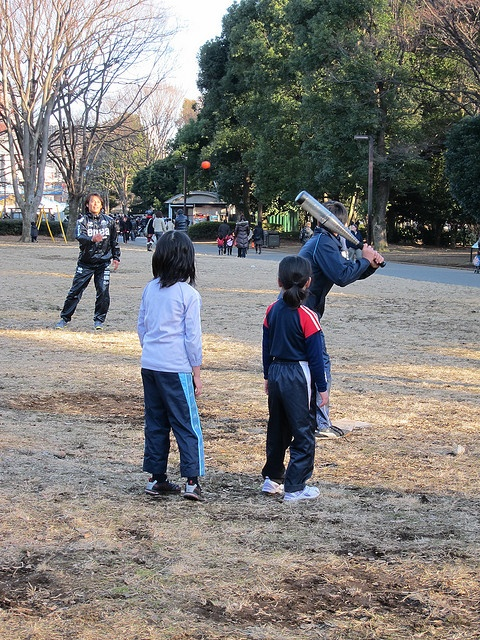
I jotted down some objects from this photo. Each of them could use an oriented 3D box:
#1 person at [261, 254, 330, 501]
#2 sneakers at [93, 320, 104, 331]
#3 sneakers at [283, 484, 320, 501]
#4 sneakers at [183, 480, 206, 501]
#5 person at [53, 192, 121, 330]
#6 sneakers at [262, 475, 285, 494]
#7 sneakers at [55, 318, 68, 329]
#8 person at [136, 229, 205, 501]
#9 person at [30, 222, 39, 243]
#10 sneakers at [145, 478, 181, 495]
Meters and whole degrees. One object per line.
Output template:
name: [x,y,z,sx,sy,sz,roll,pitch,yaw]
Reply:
person: [0.297,0.307,4.861,0.350,1.307,0.286,1,4,2]
sneakers: [-1.774,0.076,11.300,0.074,0.083,0.198,-1,-7,-14]
sneakers: [0.335,0.928,4.852,0.195,0.088,0.072,-7,-5,-5]
sneakers: [-0.248,0.897,4.750,0.059,0.070,0.156,2,-6,10]
person: [-1.827,-0.688,10.888,0.721,1.643,1.227,0,4,-9]
sneakers: [0.184,0.925,4.950,0.057,0.060,0.144,0,-4,29]
sneakers: [-2.210,0.053,11.091,0.078,0.096,0.211,13,-7,3]
person: [-0.367,0.234,4.783,0.401,1.414,0.271,2,4,7]
person: [-9.599,-4.103,41.807,0.258,0.879,2.008,0,4,-13]
sneakers: [-0.414,0.901,4.787,0.203,0.089,0.074,0,7,-25]
